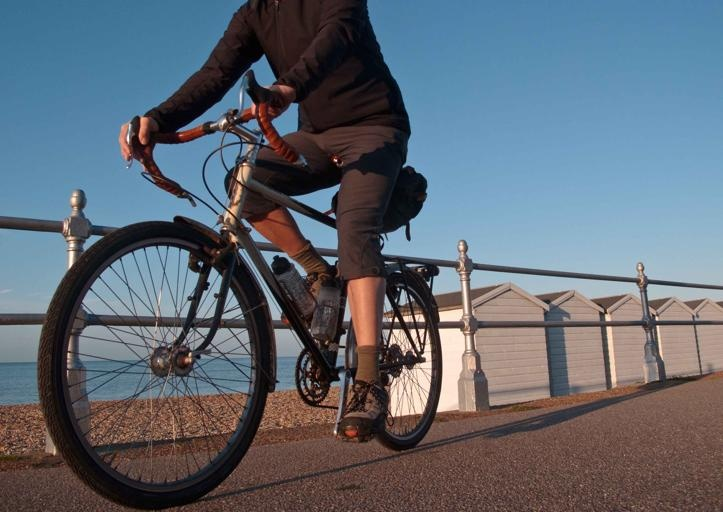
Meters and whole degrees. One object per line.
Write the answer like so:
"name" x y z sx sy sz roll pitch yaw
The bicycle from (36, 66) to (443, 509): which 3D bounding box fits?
"bicycle" -0.405 0.134 2.322 1.700 1.569 0.601 5 -4 -43
